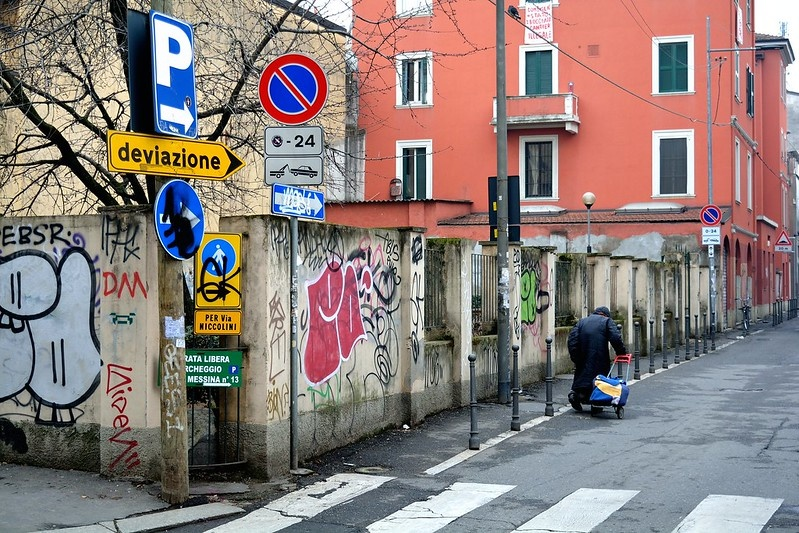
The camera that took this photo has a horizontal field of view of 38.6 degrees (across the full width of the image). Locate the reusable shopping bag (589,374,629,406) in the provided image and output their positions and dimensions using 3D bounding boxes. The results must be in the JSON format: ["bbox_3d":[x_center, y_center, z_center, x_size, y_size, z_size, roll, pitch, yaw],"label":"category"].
[{"bbox_3d":[4.109,2.490,22.499,0.739,0.605,0.461,3,10,16],"label":"reusable shopping bag"}]

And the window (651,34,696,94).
[{"bbox_3d":[10.870,-8.010,45.021,2.132,3.193,0.277,0,-3,15],"label":"window"}]

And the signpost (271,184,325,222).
[{"bbox_3d":[-1.652,-1.055,18.581,0.319,0.657,1.125,8,12,37],"label":"signpost"}]

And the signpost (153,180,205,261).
[{"bbox_3d":[-3.327,-0.687,17.086,0.152,1.304,1.063,-4,6,43],"label":"signpost"}]
